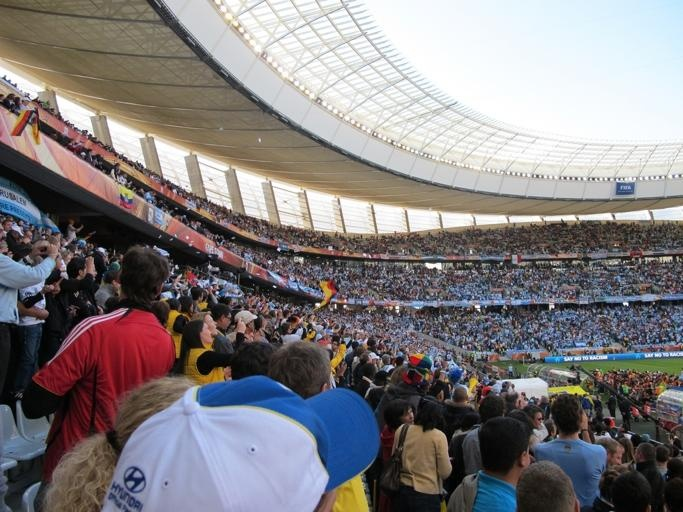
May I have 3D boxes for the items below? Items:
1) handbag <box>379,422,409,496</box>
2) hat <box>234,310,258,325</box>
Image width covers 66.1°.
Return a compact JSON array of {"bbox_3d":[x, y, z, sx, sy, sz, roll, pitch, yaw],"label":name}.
[{"bbox_3d":[0.527,1.914,5.005,0.171,0.652,0.090,6,-21,38],"label":"handbag"},{"bbox_3d":[-1.249,0.791,6.833,0.265,0.127,0.180,-13,24,-35],"label":"hat"}]
